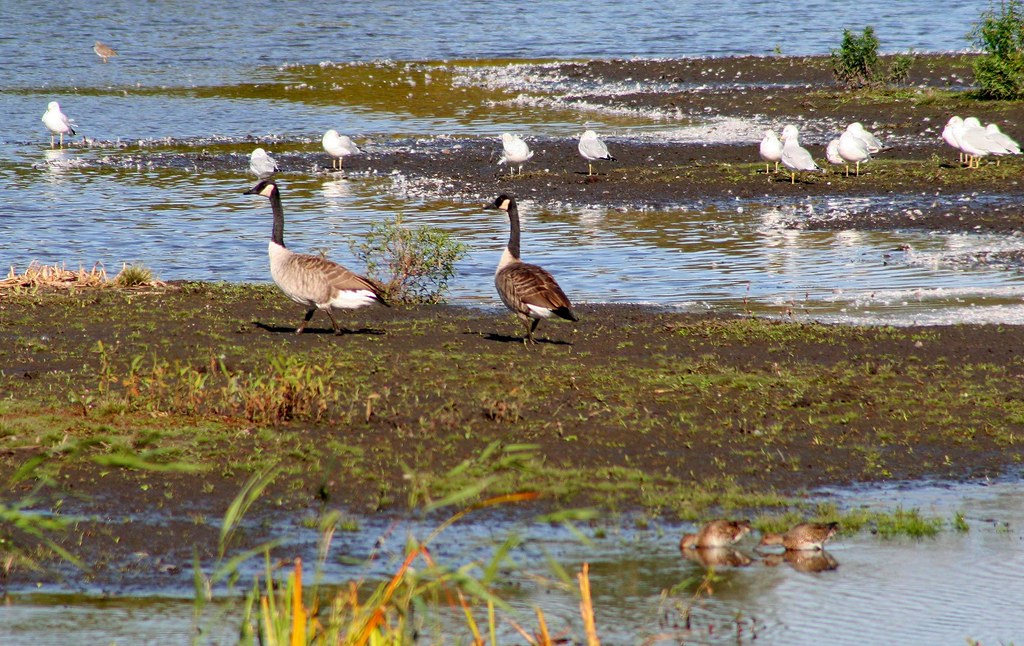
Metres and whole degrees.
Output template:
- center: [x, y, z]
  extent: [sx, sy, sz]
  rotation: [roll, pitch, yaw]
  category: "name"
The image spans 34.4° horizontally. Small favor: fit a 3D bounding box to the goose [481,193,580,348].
- center: [0.922, -1.034, 33.370]
  extent: [2.192, 2.750, 1.368]
  rotation: [5, 7, 43]
  category: "goose"
